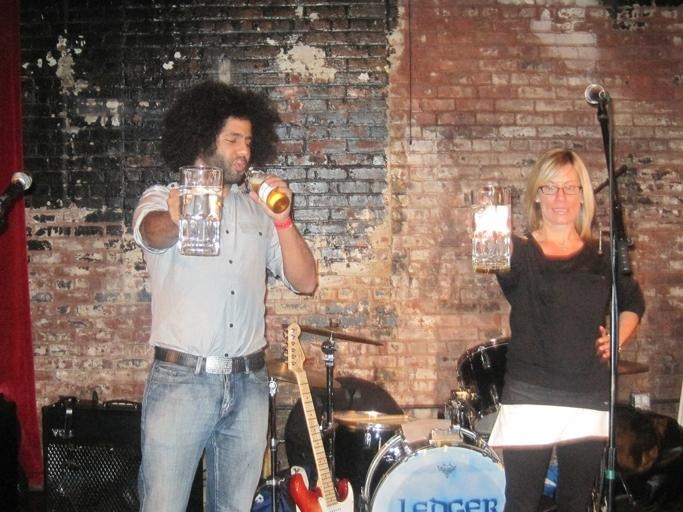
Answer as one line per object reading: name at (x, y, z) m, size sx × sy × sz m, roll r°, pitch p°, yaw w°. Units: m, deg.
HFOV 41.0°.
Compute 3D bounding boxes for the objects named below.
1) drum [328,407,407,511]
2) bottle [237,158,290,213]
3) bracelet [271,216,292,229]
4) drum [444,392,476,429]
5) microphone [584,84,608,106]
drum at (0.138, 1.172, 5.381) m, size 0.516 × 0.516 × 0.514 m, roll 0°, pitch -3°, yaw 6°
bottle at (-0.386, -0.318, 4.423) m, size 0.283 × 0.222 × 0.137 m, roll 2°, pitch 2°, yaw 38°
bracelet at (-0.296, -0.164, 4.475) m, size 0.076 × 0.049 × 0.074 m, roll 0°, pitch -1°, yaw 6°
drum at (0.695, 0.899, 5.385) m, size 0.132 × 0.221 × 0.229 m, roll -9°, pitch -16°, yaw 36°
microphone at (1.261, -0.799, 4.528) m, size 0.102 × 0.118 × 0.269 m, roll 1°, pitch 1°, yaw 10°
